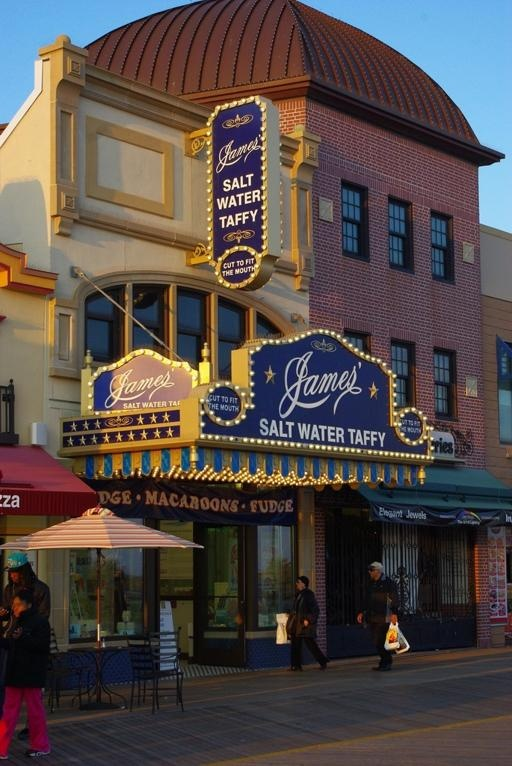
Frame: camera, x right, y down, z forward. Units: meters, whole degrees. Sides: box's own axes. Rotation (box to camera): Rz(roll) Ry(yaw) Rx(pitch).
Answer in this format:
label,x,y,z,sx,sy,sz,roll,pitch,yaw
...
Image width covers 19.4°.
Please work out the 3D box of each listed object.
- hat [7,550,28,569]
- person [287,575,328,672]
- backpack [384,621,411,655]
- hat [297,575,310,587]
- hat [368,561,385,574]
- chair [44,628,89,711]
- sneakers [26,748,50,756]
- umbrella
label,x,y,z,sx,sy,sz,roll,pitch,yaw
hat,-2.438,1.813,15.095,0.156,0.133,0.234,-1,18,0
person,0.738,3.565,22.196,0.542,1.380,0.811,-1,-12,1
backpack,2.050,3.734,21.908,0.294,0.418,0.543,0,-12,-2
hat,0.684,2.939,22.188,0.184,0.212,0.161,0,-4,26
hat,1.859,2.782,22.445,0.277,0.163,0.227,18,-7,-8
chair,-2.388,3.669,18.792,0.363,0.695,0.437,1,4,-6
sneakers,-2.145,3.571,14.546,0.239,0.114,0.084,-1,-2,-11
umbrella,-2.096,2.111,17.469,1.752,1.335,1.847,-8,-10,37
